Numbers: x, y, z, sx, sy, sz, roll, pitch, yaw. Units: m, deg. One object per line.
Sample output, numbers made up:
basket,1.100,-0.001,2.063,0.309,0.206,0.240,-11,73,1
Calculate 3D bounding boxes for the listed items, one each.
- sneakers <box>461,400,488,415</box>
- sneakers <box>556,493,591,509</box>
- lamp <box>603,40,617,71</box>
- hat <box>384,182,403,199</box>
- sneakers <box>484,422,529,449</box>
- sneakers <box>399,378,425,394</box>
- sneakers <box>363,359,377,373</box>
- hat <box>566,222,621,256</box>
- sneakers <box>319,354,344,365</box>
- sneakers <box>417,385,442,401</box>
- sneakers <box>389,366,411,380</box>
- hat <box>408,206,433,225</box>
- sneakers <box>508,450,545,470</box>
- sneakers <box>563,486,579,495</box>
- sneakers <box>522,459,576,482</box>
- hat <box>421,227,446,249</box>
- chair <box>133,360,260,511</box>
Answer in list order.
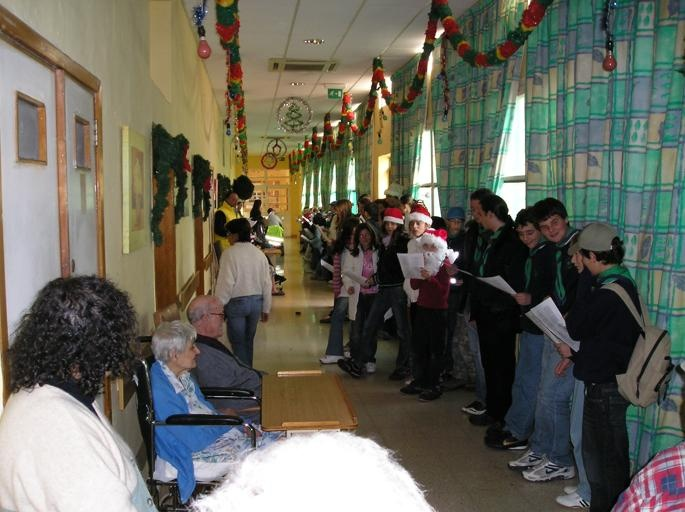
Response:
sneakers,1.205,1.397,4.950,0.161,0.071,0.106,0,0,10
sneakers,1.522,1.634,3.574,0.210,0.091,0.082,3,32,15
lamp,1.986,-1.506,4.002,0.092,0.245,0.223,4,8,25
hat,0.723,-0.929,7.588,0.205,0.152,0.278,10,13,-1
sneakers,1.300,1.451,4.350,0.363,0.170,0.139,3,6,9
sneakers,0.709,1.328,5.471,0.283,0.133,0.108,-1,2,5
sneakers,0.297,1.240,6.051,0.124,0.107,0.249,0,-11,0
hat,1.510,-0.103,3.256,0.189,0.156,0.252,-21,12,-38
sneakers,-0.137,1.211,6.292,0.327,0.150,0.114,4,3,-3
sneakers,0.864,1.350,5.296,0.230,0.099,0.105,1,-3,-34
sneakers,0.629,1.273,5.841,0.205,0.097,0.111,2,3,-6
hat,0.793,-0.421,5.480,0.162,0.183,0.228,3,-9,3
sneakers,1.367,1.530,4.033,0.285,0.143,0.105,-4,2,-4
sneakers,1.566,1.616,3.707,0.128,0.059,0.048,2,4,-7
sneakers,1.498,1.574,3.980,0.389,0.190,0.147,0,2,-4
hat,0.881,-0.175,5.155,0.174,0.187,0.248,7,7,7
chair,-0.849,0.997,3.191,0.581,0.793,0.495,-2,7,-22
